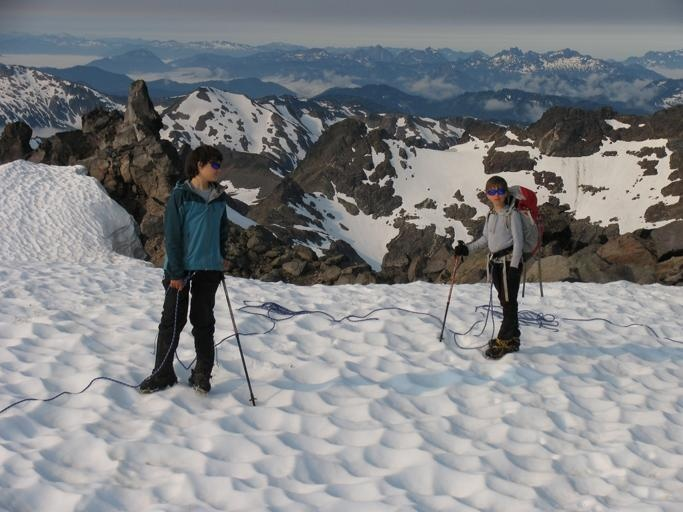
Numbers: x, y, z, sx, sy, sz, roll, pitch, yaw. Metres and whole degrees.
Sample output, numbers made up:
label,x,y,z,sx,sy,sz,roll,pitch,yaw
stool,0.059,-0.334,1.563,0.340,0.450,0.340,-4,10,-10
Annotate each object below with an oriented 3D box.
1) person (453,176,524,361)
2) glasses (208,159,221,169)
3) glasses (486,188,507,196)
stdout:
label,x,y,z,sx,sy,sz,roll,pitch,yaw
person,3.286,0.214,17.023,1.326,3.834,0.963,5,11,9
glasses,-2.293,-1.674,14.789,0.107,0.152,0.260,11,14,35
glasses,3.205,-1.323,16.528,0.375,0.180,0.138,6,12,11
